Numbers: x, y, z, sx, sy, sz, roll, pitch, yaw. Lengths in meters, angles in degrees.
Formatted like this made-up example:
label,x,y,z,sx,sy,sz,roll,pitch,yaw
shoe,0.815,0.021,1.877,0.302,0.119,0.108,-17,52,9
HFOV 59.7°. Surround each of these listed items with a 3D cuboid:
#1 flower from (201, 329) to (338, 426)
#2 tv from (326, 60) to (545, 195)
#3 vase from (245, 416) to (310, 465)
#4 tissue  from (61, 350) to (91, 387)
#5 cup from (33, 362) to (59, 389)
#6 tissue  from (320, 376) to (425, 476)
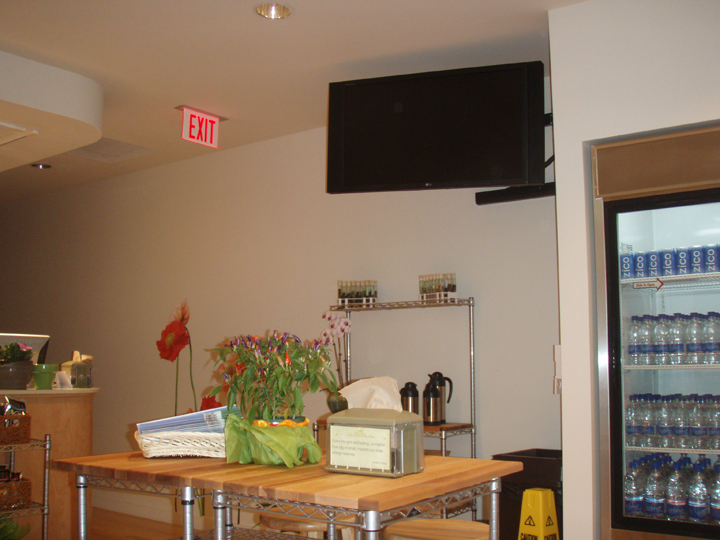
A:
label,x,y,z,sx,sy,sz,roll,pitch,yaw
flower,-0.411,0.444,2.679,0.488,0.379,0.507,-2,2,-3
tv,0.476,-0.927,4.232,1.465,0.785,0.153,1,2,22
vase,-0.304,0.693,2.528,0.189,0.114,0.200,-1,-6,20
tissue ,-2.355,0.827,5.190,0.263,0.300,0.239,8,-16,-40
cup,-2.444,0.823,4.869,0.173,0.204,0.183,1,-8,0
tissue ,0.057,0.600,2.436,0.338,0.381,0.209,-6,-10,35
